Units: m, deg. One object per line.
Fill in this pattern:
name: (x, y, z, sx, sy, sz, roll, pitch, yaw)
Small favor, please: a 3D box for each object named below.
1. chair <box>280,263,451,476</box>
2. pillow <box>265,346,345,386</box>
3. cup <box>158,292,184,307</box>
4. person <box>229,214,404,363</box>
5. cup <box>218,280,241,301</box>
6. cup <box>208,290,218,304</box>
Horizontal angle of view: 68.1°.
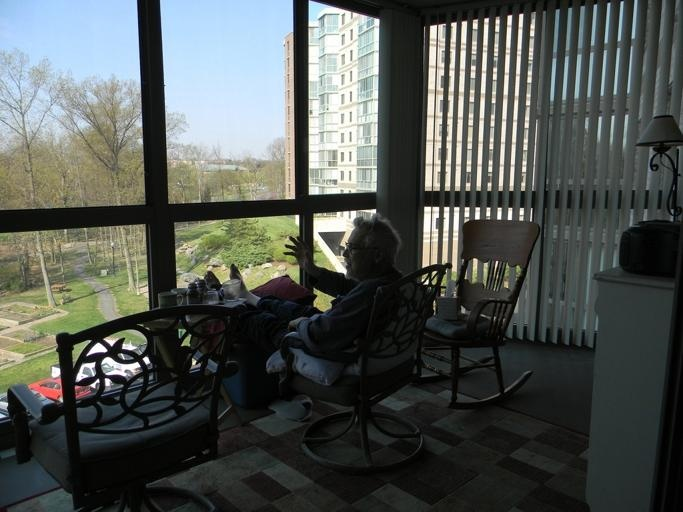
chair: (0.178, 0.570, 3.486, 1.116, 1.578, 1.025, 8, 11, 44)
pillow: (-0.179, 0.627, 2.844, 0.252, 0.089, 0.252, 15, -8, -42)
cup: (-1.052, 0.271, 3.136, 0.100, 0.121, 0.164, 0, -1, 30)
person: (-0.262, 0.183, 3.198, 1.242, 0.913, 0.708, 5, 11, 14)
cup: (-0.731, 0.222, 3.313, 0.101, 0.094, 0.120, 0, 0, 34)
cup: (-0.822, 0.268, 3.244, 0.055, 0.106, 0.057, 1, 9, 0)
